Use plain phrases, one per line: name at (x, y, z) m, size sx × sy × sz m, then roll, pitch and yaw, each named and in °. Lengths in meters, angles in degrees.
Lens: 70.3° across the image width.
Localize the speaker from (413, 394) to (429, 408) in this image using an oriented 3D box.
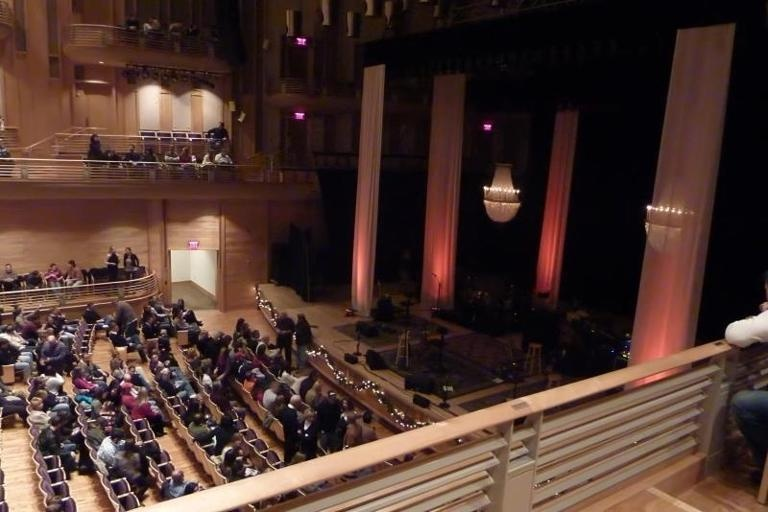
speaker at (0.789, 3.131, 11.769) m, size 0.448 × 0.265 × 0.143 m, roll 9°, pitch 13°, yaw 39°

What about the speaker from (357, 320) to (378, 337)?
speaker at (-0.504, 2.111, 15.690) m, size 0.394 × 0.255 × 0.537 m, roll 0°, pitch 11°, yaw -22°

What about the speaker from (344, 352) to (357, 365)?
speaker at (-0.835, 2.645, 14.056) m, size 0.244 × 0.158 × 0.331 m, roll -2°, pitch 9°, yaw -22°

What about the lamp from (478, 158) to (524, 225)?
lamp at (3.052, -1.631, 14.104) m, size 0.865 × 1.441 × 0.423 m, roll 4°, pitch 11°, yaw 13°

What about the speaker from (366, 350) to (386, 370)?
speaker at (-0.226, 2.606, 13.687) m, size 0.426 × 0.376 × 0.560 m, roll -6°, pitch 15°, yaw -18°

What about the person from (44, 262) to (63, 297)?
person at (-10.669, 0.754, 17.550) m, size 0.507 × 0.779 × 1.548 m, roll -5°, pitch 11°, yaw -30°
